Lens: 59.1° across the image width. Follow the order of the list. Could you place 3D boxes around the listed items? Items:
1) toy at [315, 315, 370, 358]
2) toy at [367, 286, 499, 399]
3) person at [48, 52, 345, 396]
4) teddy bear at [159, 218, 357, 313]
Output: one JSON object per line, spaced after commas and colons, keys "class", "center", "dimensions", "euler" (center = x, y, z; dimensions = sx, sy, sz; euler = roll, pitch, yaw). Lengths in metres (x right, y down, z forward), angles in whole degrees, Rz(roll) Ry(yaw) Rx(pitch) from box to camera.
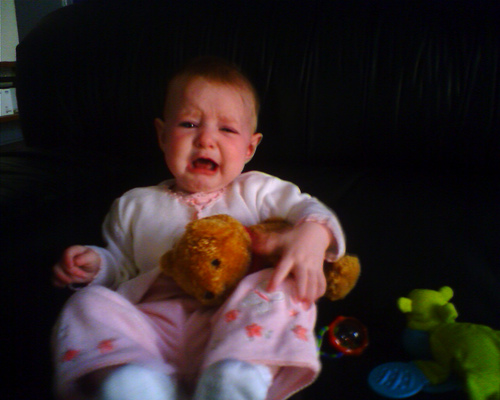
{"class": "toy", "center": [0.205, 0.302, 0.975], "dimensions": [0.111, 0.046, 0.108], "euler": [5, 15, 5]}
{"class": "toy", "center": [0.367, 0.289, 0.916], "dimensions": [0.243, 0.103, 0.173], "euler": [4, 18, 23]}
{"class": "person", "center": [-0.095, 0.099, 1.224], "dimensions": [0.734, 0.870, 0.779], "euler": [-2, -15, 3]}
{"class": "teddy bear", "center": [0.012, 0.133, 1.054], "dimensions": [0.440, 0.200, 0.288], "euler": [-3, 17, -22]}
